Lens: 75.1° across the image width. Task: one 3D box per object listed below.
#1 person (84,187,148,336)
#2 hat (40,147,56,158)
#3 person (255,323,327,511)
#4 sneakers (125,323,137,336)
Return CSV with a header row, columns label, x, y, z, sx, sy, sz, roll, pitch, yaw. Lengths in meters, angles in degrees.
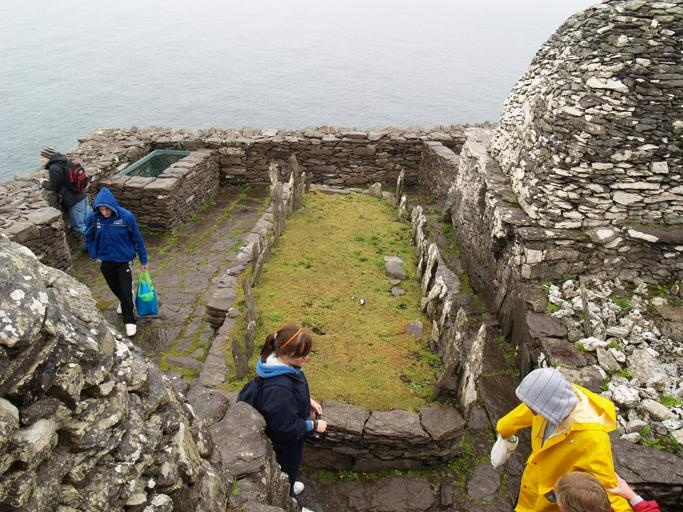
label,x,y,z,sx,sy,sz,roll,pitch,yaw
person,-3.605,-0.079,7.077,0.772,2.106,0.409,7,30,3
hat,-5.783,-2.039,8.772,0.221,0.187,0.246,4,19,-1
person,-0.582,1.644,4.498,0.541,2.062,0.603,0,30,-11
sneakers,-3.518,1.220,7.450,0.119,0.103,0.296,-16,22,-40
